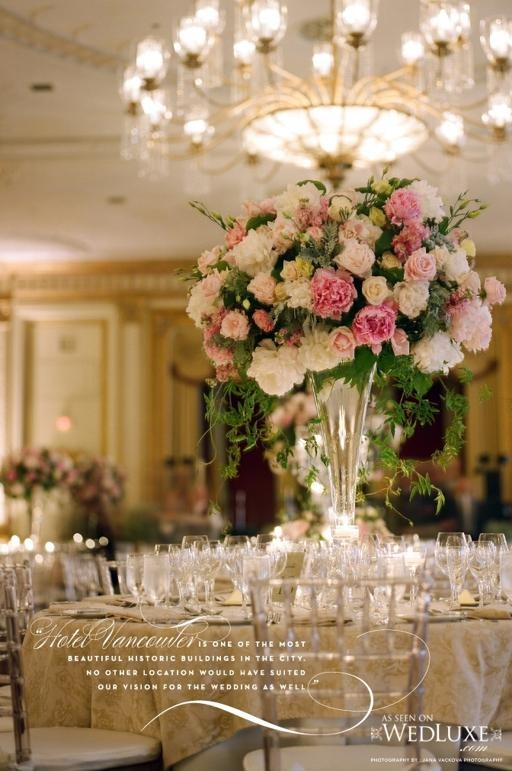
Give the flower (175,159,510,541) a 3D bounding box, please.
[{"bbox_3d":[0.177,-0.059,3.040,1.156,1.116,0.988,0,-3,-12],"label":"flower"}]
